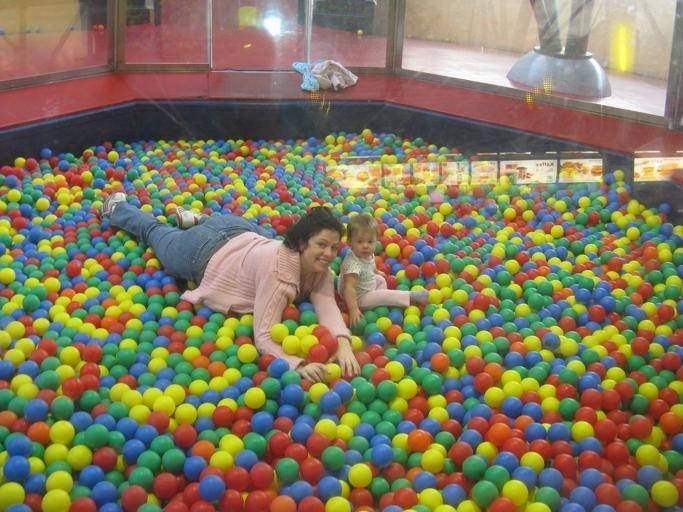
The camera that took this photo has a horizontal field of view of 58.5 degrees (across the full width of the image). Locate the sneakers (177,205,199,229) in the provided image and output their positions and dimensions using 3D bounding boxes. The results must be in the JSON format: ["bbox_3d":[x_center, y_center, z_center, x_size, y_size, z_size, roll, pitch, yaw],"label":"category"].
[{"bbox_3d":[-0.907,-0.232,3.638,0.081,0.072,0.193,-3,11,4],"label":"sneakers"}]
